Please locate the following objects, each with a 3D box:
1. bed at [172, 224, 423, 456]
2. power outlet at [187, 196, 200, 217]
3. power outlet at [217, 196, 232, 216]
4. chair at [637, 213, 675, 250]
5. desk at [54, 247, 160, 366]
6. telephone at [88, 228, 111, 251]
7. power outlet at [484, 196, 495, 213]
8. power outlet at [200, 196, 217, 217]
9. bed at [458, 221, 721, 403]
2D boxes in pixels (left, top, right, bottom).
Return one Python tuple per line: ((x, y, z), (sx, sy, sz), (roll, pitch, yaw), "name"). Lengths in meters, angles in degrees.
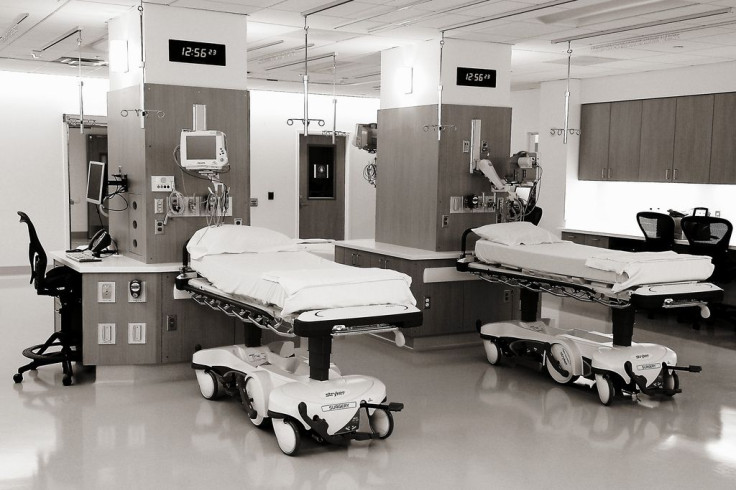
((-0.808, 0.878, 5.705), (1.366, 1.766, 2.743), (2, 2, -37), "bed")
((-2.040, -0.468, 6.580), (0.204, 0.206, 0.050), (4, 0, -40), "power outlet")
((-1.705, -0.479, 6.787), (0.213, 0.229, 0.236), (-2, 5, -12), "power outlet")
((4.470, -0.240, 8.789), (0.479, 0.606, 0.601), (6, 12, 42), "chair")
((-2.938, 0.744, 6.534), (0.940, 0.972, 1.946), (1, 2, -16), "desk")
((-3.592, -0.078, 7.494), (0.144, 0.340, 0.248), (40, 3, -27), "telephone")
((1.718, -0.585, 7.868), (0.189, 0.225, 0.032), (-4, 11, -24), "power outlet")
((-1.882, -0.469, 6.651), (0.182, 0.255, 0.073), (-1, 10, -13), "power outlet")
((2.456, 0.758, 6.733), (1.239, 1.701, 2.721), (1, 4, -29), "bed")
